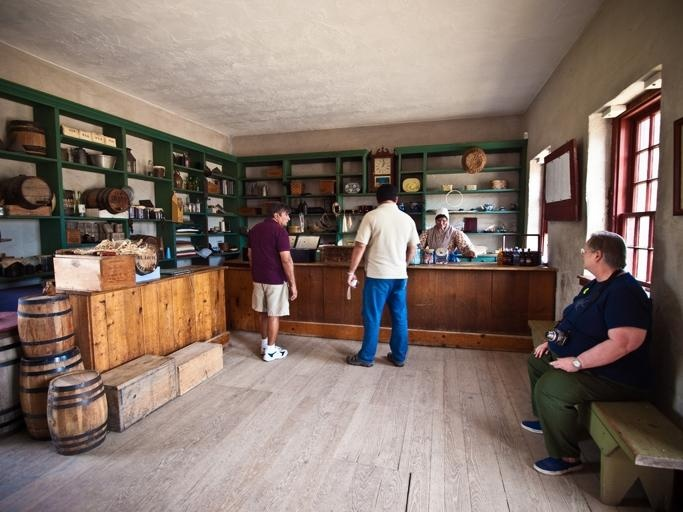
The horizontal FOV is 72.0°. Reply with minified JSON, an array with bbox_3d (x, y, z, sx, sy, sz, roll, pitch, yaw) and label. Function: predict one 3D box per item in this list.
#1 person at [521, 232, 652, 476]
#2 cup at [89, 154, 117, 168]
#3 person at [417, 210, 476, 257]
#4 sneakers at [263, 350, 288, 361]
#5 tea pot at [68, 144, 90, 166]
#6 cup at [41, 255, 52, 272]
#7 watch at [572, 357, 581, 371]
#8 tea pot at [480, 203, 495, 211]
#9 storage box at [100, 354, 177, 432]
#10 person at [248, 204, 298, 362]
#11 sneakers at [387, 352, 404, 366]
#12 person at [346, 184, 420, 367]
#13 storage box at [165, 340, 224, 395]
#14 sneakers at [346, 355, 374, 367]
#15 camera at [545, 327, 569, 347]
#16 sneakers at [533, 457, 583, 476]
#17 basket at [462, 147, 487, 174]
[{"bbox_3d":[1.962,0.748,3.813,1.006,1.803,1.065,-6,6,-11],"label":"person"},{"bbox_3d":[-3.010,-1.174,5.888,0.209,0.093,0.201,0,0,0],"label":"cup"},{"bbox_3d":[1.423,-0.260,6.579,0.954,0.773,0.546,3,20,26],"label":"person"},{"bbox_3d":[-0.749,1.121,5.349,0.294,0.125,0.099,-4,8,-30],"label":"sneakers"},{"bbox_3d":[-3.144,-1.211,5.660,0.184,0.264,0.266,8,9,13],"label":"tea pot"},{"bbox_3d":[-3.273,0.090,5.206,0.104,0.177,0.060,-7,8,-43],"label":"cup"},{"bbox_3d":[1.748,0.800,3.488,0.056,0.087,0.084,1,0,42],"label":"watch"},{"bbox_3d":[2.328,-0.759,7.460,0.237,0.129,0.262,0,5,16],"label":"tea pot"},{"bbox_3d":[-1.882,1.203,4.281,0.371,0.403,0.668,7,13,22],"label":"storage box"},{"bbox_3d":[-0.766,0.309,5.264,0.490,1.721,0.342,-3,6,-12],"label":"person"},{"bbox_3d":[0.594,1.131,5.191,0.079,0.086,0.219,-7,15,-27],"label":"sneakers"},{"bbox_3d":[0.432,0.217,5.079,0.803,1.958,0.389,-1,6,2],"label":"person"},{"bbox_3d":[-1.523,1.124,4.766,0.293,0.362,0.646,1,6,25],"label":"storage box"},{"bbox_3d":[0.189,1.158,5.198,0.301,0.136,0.111,6,8,21],"label":"sneakers"},{"bbox_3d":[1.714,0.650,3.746,0.129,0.128,0.127,12,28,-41],"label":"camera"},{"bbox_3d":[1.644,1.601,3.606,0.345,0.138,0.139,1,0,0],"label":"sneakers"},{"bbox_3d":[1.993,-1.425,7.078,0.374,0.375,0.145,18,15,20],"label":"basket"}]
